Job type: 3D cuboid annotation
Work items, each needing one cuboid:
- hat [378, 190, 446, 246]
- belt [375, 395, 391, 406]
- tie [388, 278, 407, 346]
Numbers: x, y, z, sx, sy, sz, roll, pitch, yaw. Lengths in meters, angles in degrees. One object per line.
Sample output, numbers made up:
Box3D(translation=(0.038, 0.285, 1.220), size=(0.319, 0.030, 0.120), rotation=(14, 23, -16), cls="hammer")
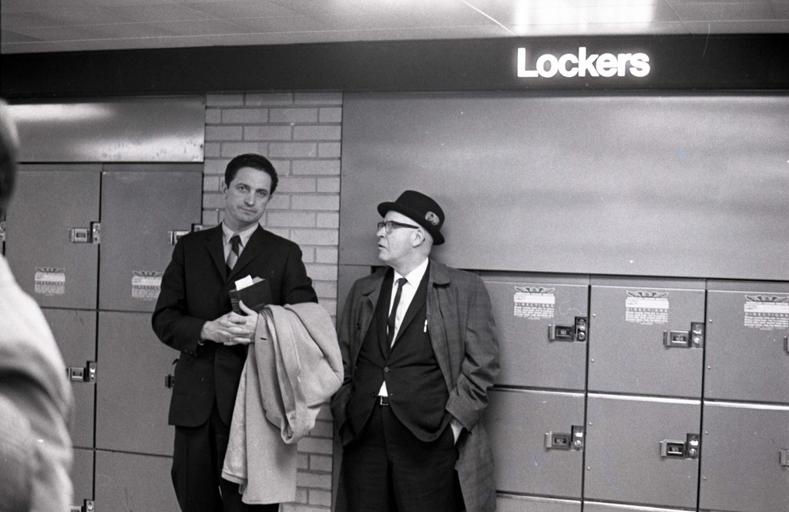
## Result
Box3D(translation=(0.167, -0.368, 5.081), size=(0.469, 0.185, 0.423), rotation=(25, 12, -15), cls="hat")
Box3D(translation=(-0.077, 0.969, 4.709), size=(0.088, 0.062, 0.018), rotation=(4, -1, 16), cls="belt")
Box3D(translation=(0.028, 0.379, 4.888), size=(0.085, 0.480, 0.061), rotation=(8, -23, 9), cls="tie")
